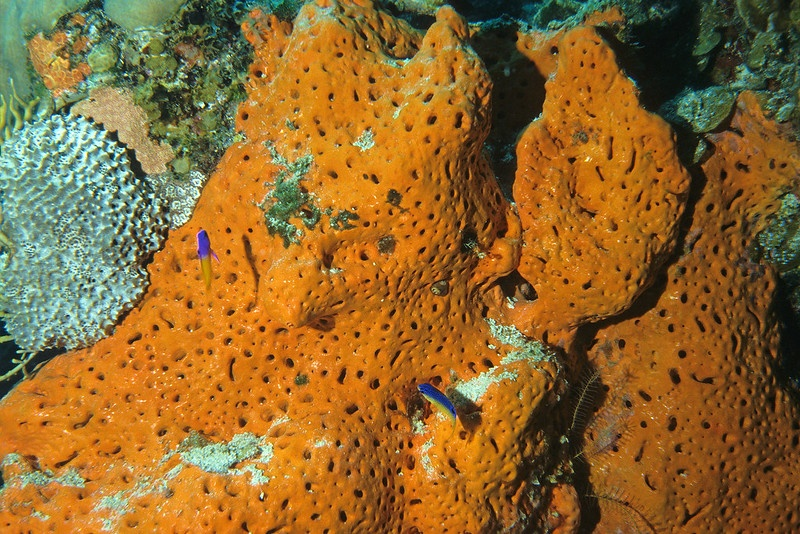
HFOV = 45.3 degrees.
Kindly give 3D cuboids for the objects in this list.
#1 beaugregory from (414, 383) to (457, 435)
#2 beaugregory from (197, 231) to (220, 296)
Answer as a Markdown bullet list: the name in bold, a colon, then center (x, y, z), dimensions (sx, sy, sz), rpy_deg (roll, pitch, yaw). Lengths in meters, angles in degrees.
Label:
- **beaugregory**: center (0.348, 1.181, 8.219), dimensions (0.162, 0.637, 0.504), rpy_deg (-42, 72, -14)
- **beaugregory**: center (-1.596, -0.062, 7.896), dimensions (0.164, 0.218, 0.570), rpy_deg (8, 106, 42)
